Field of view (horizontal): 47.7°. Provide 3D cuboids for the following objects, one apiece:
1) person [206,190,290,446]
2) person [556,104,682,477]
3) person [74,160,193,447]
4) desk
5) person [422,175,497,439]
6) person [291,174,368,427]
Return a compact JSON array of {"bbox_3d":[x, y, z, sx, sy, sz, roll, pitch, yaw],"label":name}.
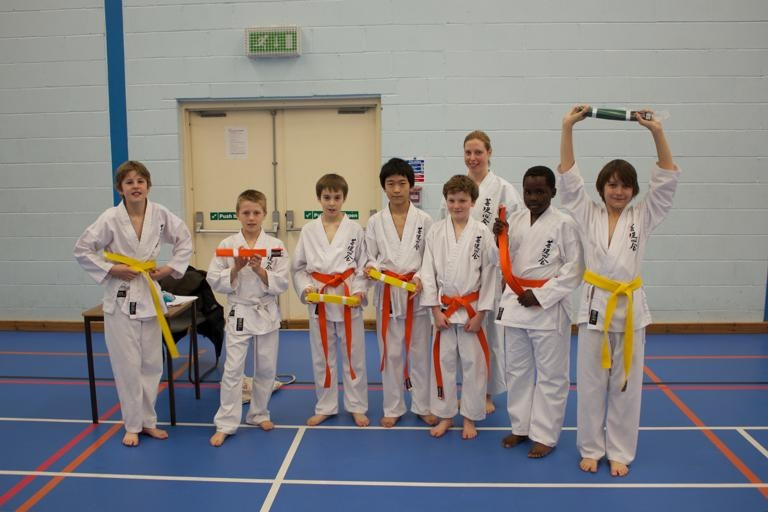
[{"bbox_3d":[-1.378,0.572,8.714,0.872,2.427,0.565,-5,10,-25],"label":"person"},{"bbox_3d":[2.181,0.356,8.134,0.880,3.353,0.546,2,10,16],"label":"person"},{"bbox_3d":[-2.462,0.453,8.571,1.074,2.722,0.548,-4,10,-21],"label":"person"},{"bbox_3d":[-2.615,0.974,9.151,1.484,1.533,1.168,-1,-1,-6],"label":"desk"},{"bbox_3d":[0.730,0.498,8.580,0.759,2.543,0.421,0,9,6],"label":"person"},{"bbox_3d":[-0.538,0.440,8.761,0.738,2.480,0.480,-1,9,-3],"label":"person"}]
